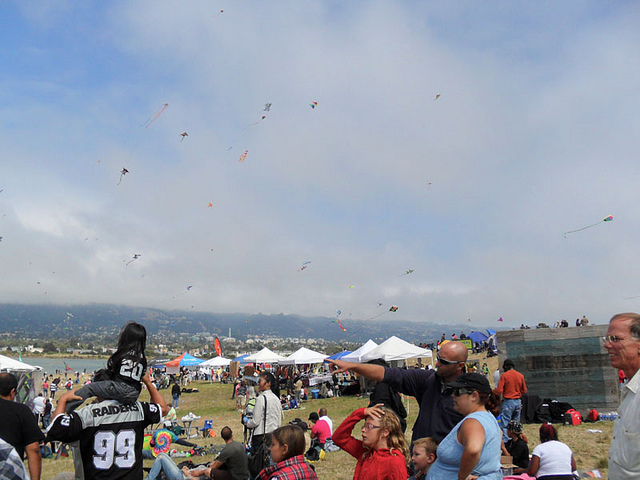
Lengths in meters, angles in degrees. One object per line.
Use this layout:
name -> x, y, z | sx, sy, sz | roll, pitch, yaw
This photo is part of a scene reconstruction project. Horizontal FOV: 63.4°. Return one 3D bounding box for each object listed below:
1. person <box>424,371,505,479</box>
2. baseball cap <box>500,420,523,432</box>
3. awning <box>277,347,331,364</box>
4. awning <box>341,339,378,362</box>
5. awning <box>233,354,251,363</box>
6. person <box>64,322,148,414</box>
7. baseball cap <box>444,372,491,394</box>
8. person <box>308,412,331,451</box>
person -> 1.661, 2.107, 5.894 | 0.607, 1.177, 0.647 | 15, -19, -37
baseball cap -> 3.737, 3.558, 9.895 | 0.223, 0.175, 0.519 | -3, -18, 25
awning -> -1.139, 6.882, 30.966 | 2.297, 1.123, 3.754 | 8, -17, -15
awning -> 2.038, 5.625, 26.651 | 1.568, 1.522, 6.233 | 3, -16, 4
awning -> -6.065, 9.325, 40.468 | 1.413, 0.397, 1.507 | 3, -10, -14
person -> -2.605, 1.657, 6.541 | 0.689, 1.354, 0.612 | 14, -7, 24
baseball cap -> 1.743, 1.638, 5.973 | 0.350, 0.177, 0.260 | 2, -16, 8
person -> -0.069, 4.699, 12.761 | 0.605, 1.146, 0.469 | -6, -13, 30
